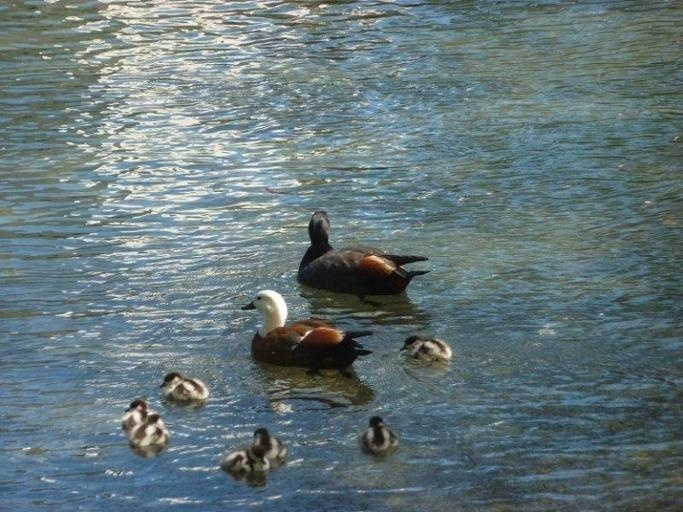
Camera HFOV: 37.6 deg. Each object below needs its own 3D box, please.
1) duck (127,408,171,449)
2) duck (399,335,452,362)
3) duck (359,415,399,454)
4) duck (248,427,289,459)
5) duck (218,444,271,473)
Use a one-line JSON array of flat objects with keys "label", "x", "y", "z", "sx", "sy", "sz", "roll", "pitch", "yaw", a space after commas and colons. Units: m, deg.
[{"label": "duck", "x": -2.698, "y": 2.432, "z": 13.956, "sx": 0.525, "sy": 0.418, "sz": 0.431, "roll": -8, "pitch": 20, "yaw": -22}, {"label": "duck", "x": 1.288, "y": 1.434, "z": 15.722, "sx": 0.802, "sy": 0.344, "sz": 0.454, "roll": 11, "pitch": 20, "yaw": 36}, {"label": "duck", "x": 0.521, "y": 2.472, "z": 13.864, "sx": 0.712, "sy": 0.196, "sz": 0.584, "roll": -3, "pitch": 26, "yaw": -1}, {"label": "duck", "x": -1.062, "y": 2.593, "z": 13.762, "sx": 0.679, "sy": 0.289, "sz": 0.634, "roll": -1, "pitch": 3, "yaw": -7}, {"label": "duck", "x": -1.306, "y": 2.708, "z": 13.459, "sx": 0.674, "sy": 0.438, "sz": 0.263, "roll": 0, "pitch": 22, "yaw": 0}]
